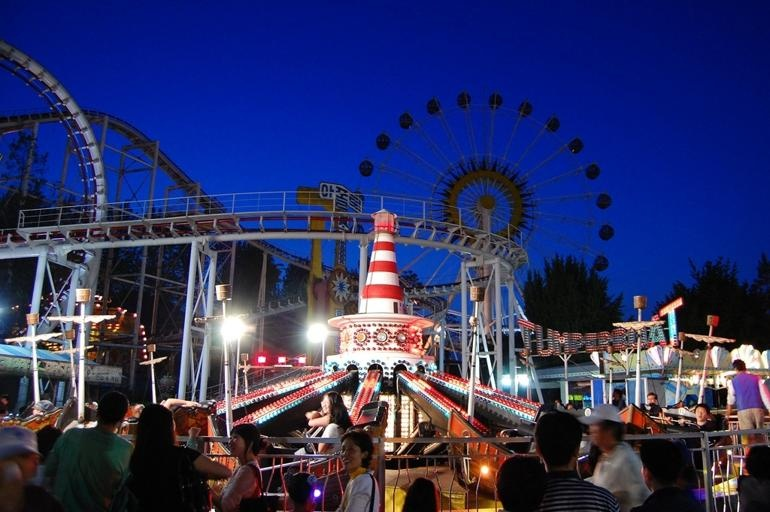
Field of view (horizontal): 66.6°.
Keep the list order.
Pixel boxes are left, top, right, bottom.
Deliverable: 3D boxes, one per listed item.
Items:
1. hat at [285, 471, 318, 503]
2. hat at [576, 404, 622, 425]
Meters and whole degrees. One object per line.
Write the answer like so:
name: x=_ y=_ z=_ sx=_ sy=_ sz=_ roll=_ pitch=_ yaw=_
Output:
hat: x=-1.004 y=2.652 z=6.813 sx=0.329 sy=0.337 sz=0.372 roll=-1 pitch=-5 yaw=3
hat: x=2.513 y=1.850 z=6.894 sx=0.477 sy=0.167 sz=0.305 roll=-2 pitch=-14 yaw=5
